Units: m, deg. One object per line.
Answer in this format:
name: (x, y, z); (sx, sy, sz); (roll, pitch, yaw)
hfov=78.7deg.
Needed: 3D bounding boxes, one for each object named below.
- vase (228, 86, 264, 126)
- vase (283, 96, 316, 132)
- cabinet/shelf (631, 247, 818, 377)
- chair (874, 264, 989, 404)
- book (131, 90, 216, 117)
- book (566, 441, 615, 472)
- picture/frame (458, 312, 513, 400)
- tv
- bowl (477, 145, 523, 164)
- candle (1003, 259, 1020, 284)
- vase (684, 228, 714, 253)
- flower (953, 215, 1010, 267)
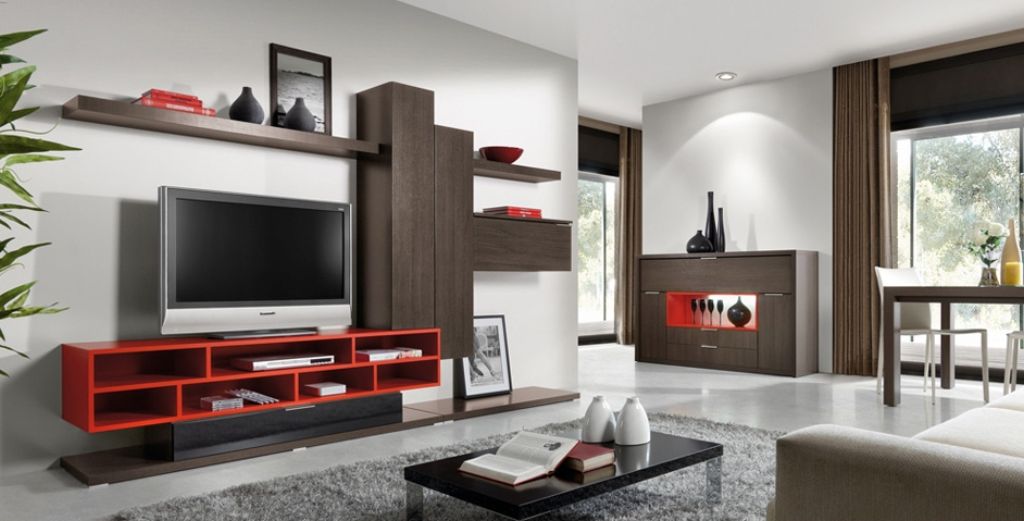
vase: (-2.274, -1.327, 5.326); (0.277, 0.290, 0.273); (14, 13, 33)
vase: (-1.867, -1.269, 5.403); (0.244, 0.299, 0.150); (-1, 7, -2)
cabinet/shelf: (2.721, 0.651, 7.720); (1.839, 1.067, 0.621); (-2, -7, 36)
chair: (4.369, 0.813, 6.377); (0.614, 0.724, 0.467); (-8, -21, -24)
book: (-2.712, -1.265, 4.988); (0.564, 0.204, 0.210); (-3, 7, -22)
book: (0.481, 1.214, 3.883); (0.198, 0.036, 0.192); (-5, 4, -39)
picture/frame: (-0.296, 0.936, 6.224); (0.600, 0.772, 0.248); (-5, 8, -32)
tv: (-2.169, 0.029, 5.132); (1.659, 0.962, 0.415); (0, 0, -32)
bowl: (-0.123, -1.082, 6.341); (0.408, 0.208, 0.308); (-2, 6, -10)
candle: (4.504, 0.102, 5.629); (0.112, 0.223, 0.303); (6, 9, 44)
vase: (2.402, -0.263, 8.042); (0.350, 0.257, 0.333); (1, 2, 33)
flower: (4.480, -0.174, 5.922); (0.404, 0.318, 0.405); (11, -27, -28)
